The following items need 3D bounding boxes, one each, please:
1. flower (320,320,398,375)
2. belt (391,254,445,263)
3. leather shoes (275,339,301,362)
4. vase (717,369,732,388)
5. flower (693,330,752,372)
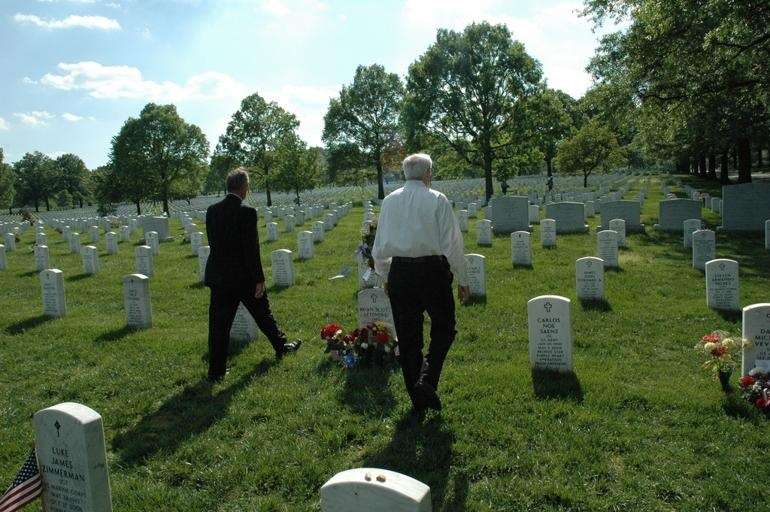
[{"bbox_3d":[-0.486,1.771,13.289,1.137,0.658,0.969,0,2,-7],"label":"flower"},{"bbox_3d":[0.583,0.049,11.623,0.833,0.101,0.104,0,7,5],"label":"belt"},{"bbox_3d":[-1.919,1.856,13.739,0.196,0.261,0.601,16,32,28],"label":"leather shoes"},{"bbox_3d":[6.131,2.198,12.325,0.243,0.374,0.278,0,7,6],"label":"vase"},{"bbox_3d":[6.200,1.789,12.659,0.668,0.823,0.797,-2,-2,-35],"label":"flower"}]
